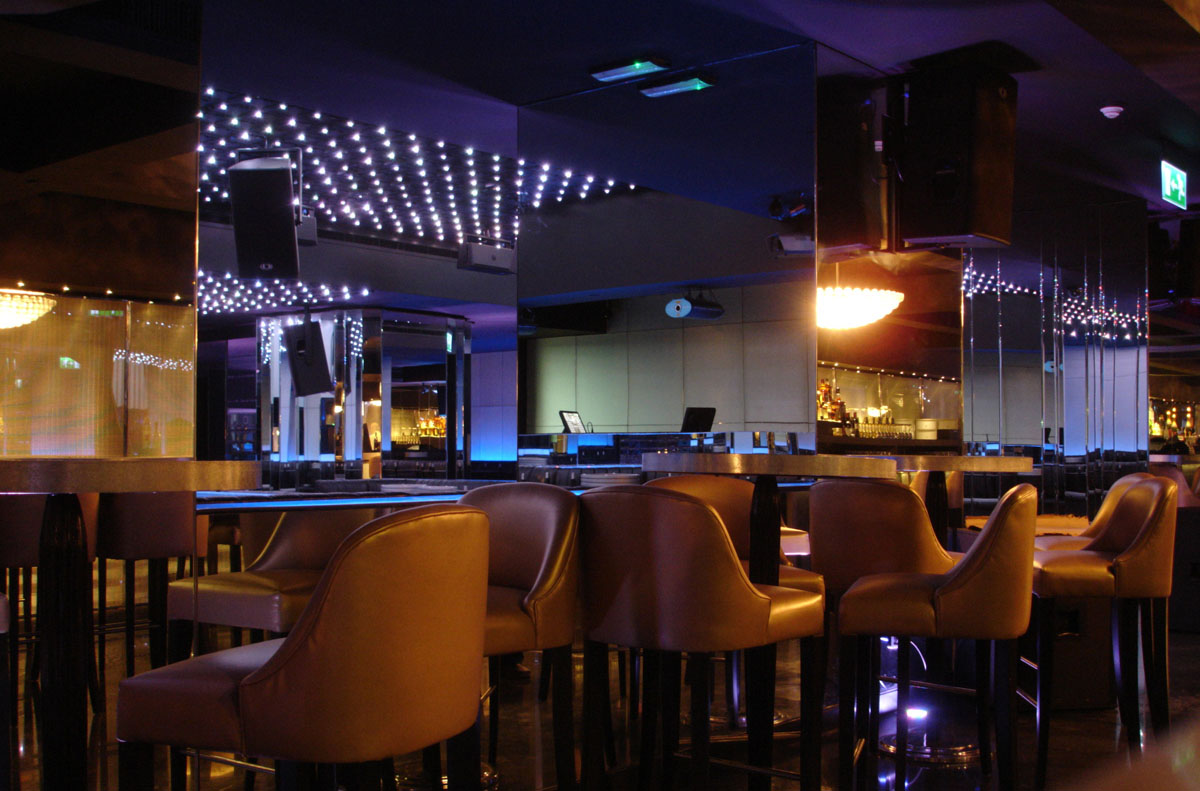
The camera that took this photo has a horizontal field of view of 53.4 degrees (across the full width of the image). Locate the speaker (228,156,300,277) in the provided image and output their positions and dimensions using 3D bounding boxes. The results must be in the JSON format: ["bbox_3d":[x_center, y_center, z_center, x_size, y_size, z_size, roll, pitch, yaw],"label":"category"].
[{"bbox_3d":[-2.417,-1.306,8.593,0.450,0.885,0.288,0,-3,-7],"label":"speaker"}]

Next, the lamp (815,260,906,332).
[{"bbox_3d":[1.864,-0.716,8.607,0.576,0.201,0.539,0,-9,0],"label":"lamp"}]

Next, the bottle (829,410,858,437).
[{"bbox_3d":[1.720,0.201,8.411,0.185,0.173,0.043,5,2,-41],"label":"bottle"}]

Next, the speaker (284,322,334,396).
[{"bbox_3d":[-3.165,-0.419,13.027,0.525,0.871,0.739,0,-3,-16],"label":"speaker"}]
